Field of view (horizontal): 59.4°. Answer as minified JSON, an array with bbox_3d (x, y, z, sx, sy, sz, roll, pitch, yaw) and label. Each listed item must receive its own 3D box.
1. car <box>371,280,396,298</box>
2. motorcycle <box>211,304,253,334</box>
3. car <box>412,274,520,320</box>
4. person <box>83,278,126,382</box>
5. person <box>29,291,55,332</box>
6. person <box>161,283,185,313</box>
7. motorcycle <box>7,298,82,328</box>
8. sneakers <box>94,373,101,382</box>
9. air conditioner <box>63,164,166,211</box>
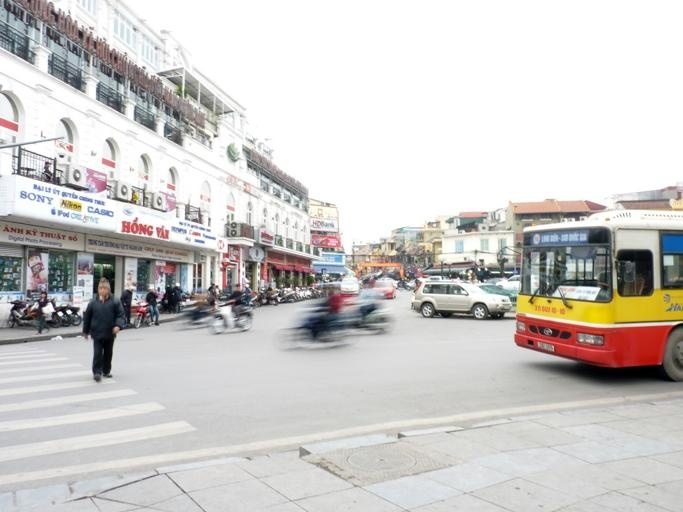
[{"bbox_3d":[3.264,2.564,45.807,1.523,1.268,3.412,-3,-7,5],"label":"car"},{"bbox_3d":[-3.747,2.104,20.409,0.786,0.969,1.620,3,5,29],"label":"motorcycle"},{"bbox_3d":[5.171,1.831,25.684,3.608,1.536,1.664,-6,-6,33],"label":"car"},{"bbox_3d":[-4.619,1.433,11.632,0.705,1.924,0.734,-2,5,-26],"label":"person"},{"bbox_3d":[-10.034,1.908,20.198,0.650,1.245,1.464,-2,5,-28],"label":"person"},{"bbox_3d":[-8.412,2.160,29.719,1.036,1.277,2.640,-1,4,-16],"label":"person"},{"bbox_3d":[-10.584,2.043,20.908,2.018,1.148,1.058,3,-6,-5],"label":"motorcycle"},{"bbox_3d":[-4.665,2.307,11.386,0.112,0.142,0.150,4,22,-9],"label":"sneakers"},{"bbox_3d":[-9.851,-2.879,26.048,0.885,1.777,6.274,1,4,12],"label":"air conditioner"}]
